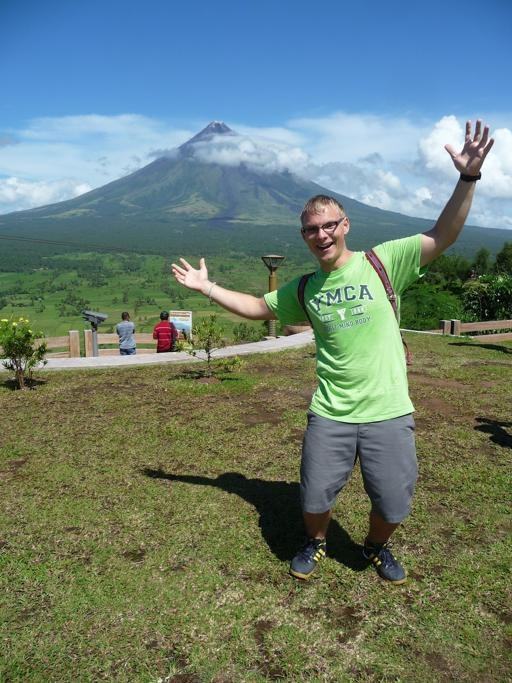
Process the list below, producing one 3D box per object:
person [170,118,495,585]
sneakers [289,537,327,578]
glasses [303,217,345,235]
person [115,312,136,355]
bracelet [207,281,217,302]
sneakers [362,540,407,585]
[{"bbox_3d":[0.515,0.149,2.754,1.367,2.536,0.429,2,8,20],"label":"person"},{"bbox_3d":[0.325,1.309,2.941,0.114,0.135,0.328,3,-2,26],"label":"sneakers"},{"bbox_3d":[0.354,-0.607,2.562,0.219,0.099,0.107,1,8,7],"label":"glasses"},{"bbox_3d":[-3.299,-0.192,12.276,0.416,1.148,1.484,-2,8,-16],"label":"person"},{"bbox_3d":[-0.278,-0.319,3.044,0.030,0.099,0.076,5,3,-15],"label":"bracelet"},{"bbox_3d":[0.772,1.316,2.933,0.141,0.148,0.369,5,9,-26],"label":"sneakers"}]
